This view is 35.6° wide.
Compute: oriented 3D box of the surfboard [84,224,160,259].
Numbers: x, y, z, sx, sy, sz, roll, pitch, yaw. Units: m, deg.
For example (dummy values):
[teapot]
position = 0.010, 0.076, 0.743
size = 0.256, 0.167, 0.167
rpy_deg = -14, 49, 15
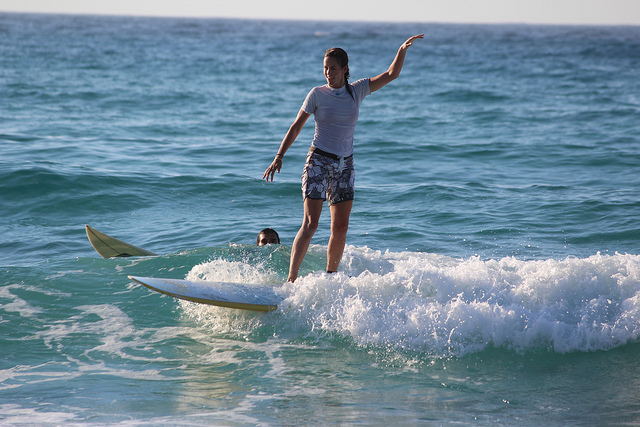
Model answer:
[surfboard]
position = -4.336, 0.583, 20.595
size = 1.629, 0.561, 0.702
rpy_deg = 6, 7, 25
